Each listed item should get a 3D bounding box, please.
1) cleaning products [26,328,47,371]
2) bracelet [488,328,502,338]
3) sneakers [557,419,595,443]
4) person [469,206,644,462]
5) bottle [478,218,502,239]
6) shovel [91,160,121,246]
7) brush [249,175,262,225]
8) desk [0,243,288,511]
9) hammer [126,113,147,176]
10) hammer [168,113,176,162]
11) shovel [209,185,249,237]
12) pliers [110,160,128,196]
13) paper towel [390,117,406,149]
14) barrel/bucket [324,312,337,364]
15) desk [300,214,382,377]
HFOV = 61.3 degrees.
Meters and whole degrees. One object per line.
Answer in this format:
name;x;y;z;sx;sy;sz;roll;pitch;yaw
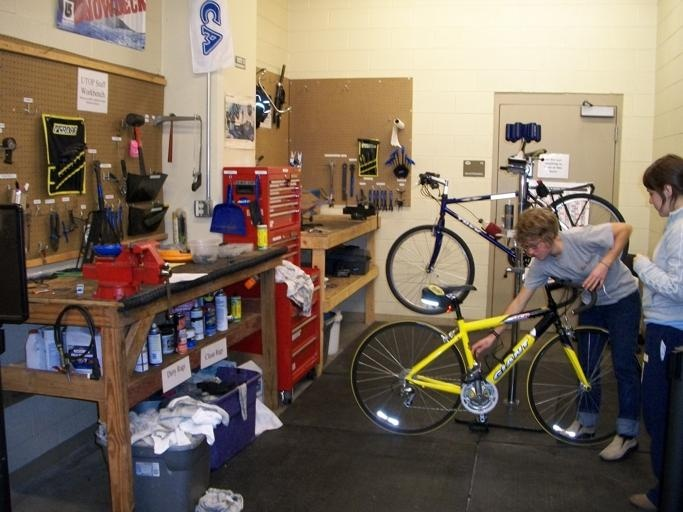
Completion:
cleaning products;-1.732;0.543;3.285;0.109;0.336;0.079;4;29;-25
bracelet;1.061;0.547;3.998;0.049;0.085;0.035;-43;6;-35
sneakers;1.683;1.266;4.125;0.246;0.116;0.143;6;-3;1
person;1.658;0.525;3.987;0.932;1.715;0.583;4;12;19
bottle;1.483;-0.280;5.767;0.194;0.075;0.141;33;-17;15
shovel;-1.654;-0.375;4.078;0.156;0.590;0.201;-4;12;-21
brush;-0.667;-0.437;4.541;0.083;0.380;0.113;6;13;27
desk;-1.081;0.699;3.770;1.194;1.552;2.324;3;8;13
hammer;-1.543;-0.847;4.355;0.144;0.452;0.285;-4;12;-19
hammer;-1.358;-0.943;4.608;0.078;0.391;0.154;-3;12;-17
shovel;-0.886;-0.366;4.594;0.345;0.500;0.041;4;13;10
pliers;-1.623;-0.562;4.228;0.133;0.208;0.054;-14;19;-36
paper towel;0.643;-1.415;6.602;0.166;0.332;0.116;1;11;3
barrel/bucket;-0.123;0.798;5.666;0.094;0.435;0.254;2;12;10
desk;-0.019;0.356;5.720;0.460;0.892;1.389;1;9;11
